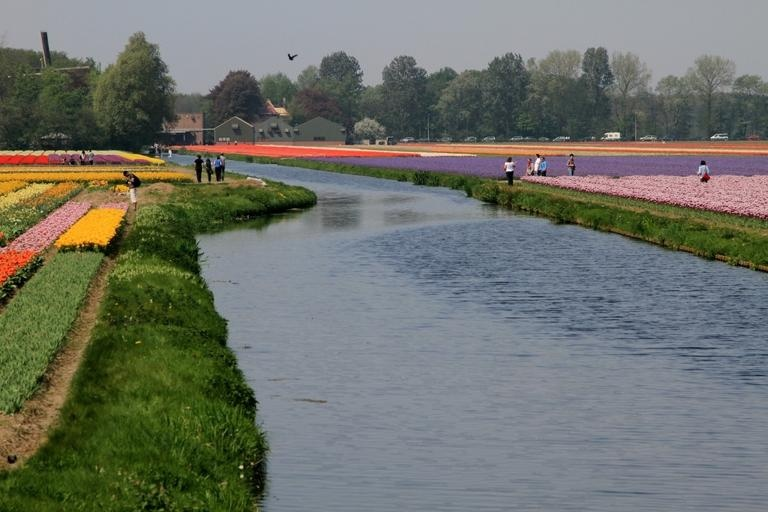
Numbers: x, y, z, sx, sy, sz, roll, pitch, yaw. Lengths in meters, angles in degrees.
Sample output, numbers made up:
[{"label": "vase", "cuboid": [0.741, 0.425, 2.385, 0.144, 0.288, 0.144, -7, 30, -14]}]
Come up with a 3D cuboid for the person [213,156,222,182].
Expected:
[{"label": "person", "cuboid": [-9.520, -5.048, 62.714, 0.428, 1.315, 1.630, 1, 12, -6]}]

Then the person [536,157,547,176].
[{"label": "person", "cuboid": [9.924, -5.556, 67.219, 0.518, 1.120, 1.331, 6, 12, 17]}]
